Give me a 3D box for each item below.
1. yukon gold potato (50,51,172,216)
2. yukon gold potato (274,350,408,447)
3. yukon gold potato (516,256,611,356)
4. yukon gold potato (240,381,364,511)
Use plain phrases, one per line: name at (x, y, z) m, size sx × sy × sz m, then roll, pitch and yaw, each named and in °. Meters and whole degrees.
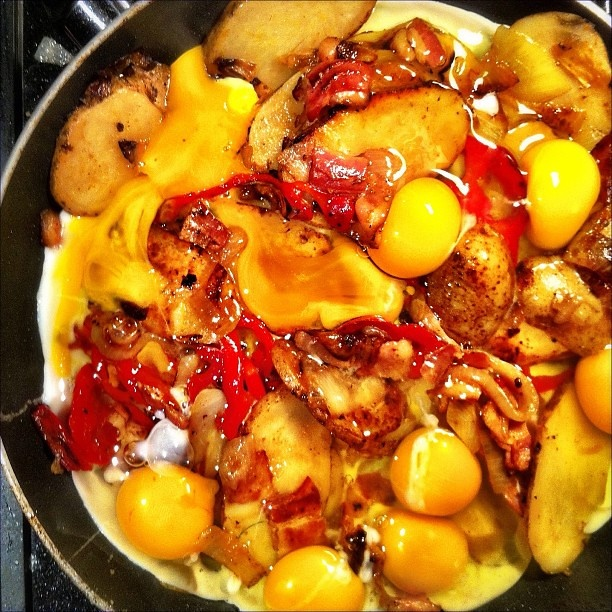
yukon gold potato at (-0.706, -0.623, 2.990) m, size 0.276 × 0.148 × 0.645 m, roll 38°, pitch 87°, yaw 2°
yukon gold potato at (0.115, 0.316, 2.998) m, size 0.466 × 0.126 × 0.314 m, roll 39°, pitch 66°, yaw -1°
yukon gold potato at (0.938, -0.011, 2.990) m, size 0.406 × 0.080 × 0.247 m, roll 32°, pitch 87°, yaw 2°
yukon gold potato at (-0.045, 0.506, 3.080) m, size 0.259 × 0.156 × 0.442 m, roll -27°, pitch 93°, yaw -5°
